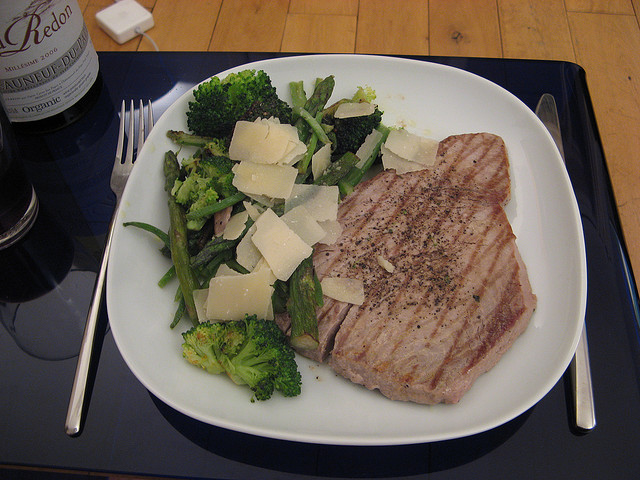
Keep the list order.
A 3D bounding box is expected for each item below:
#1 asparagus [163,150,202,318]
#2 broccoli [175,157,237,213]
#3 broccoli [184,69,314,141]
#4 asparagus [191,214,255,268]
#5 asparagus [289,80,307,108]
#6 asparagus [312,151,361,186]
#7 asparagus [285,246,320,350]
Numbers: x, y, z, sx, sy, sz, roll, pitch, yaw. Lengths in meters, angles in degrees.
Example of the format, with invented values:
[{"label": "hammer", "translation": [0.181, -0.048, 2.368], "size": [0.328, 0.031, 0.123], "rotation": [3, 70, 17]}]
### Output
[{"label": "asparagus", "translation": [-0.657, -0.049, 2.621], "size": [0.093, 0.075, 0.864], "rotation": [-12, 67, -8]}, {"label": "broccoli", "translation": [-0.538, -0.291, 2.734], "size": [0.219, 0.119, 0.284], "rotation": [-31, 68, -7]}, {"label": "broccoli", "translation": [-0.410, -0.690, 2.831], "size": [0.414, 0.156, 0.474], "rotation": [-10, 53, -1]}, {"label": "asparagus", "translation": [-0.430, 0.023, 2.644], "size": [0.104, 0.072, 0.400], "rotation": [43, 62, 12]}, {"label": "asparagus", "translation": [-0.121, -0.767, 2.983], "size": [0.070, 0.022, 0.157], "rotation": [1, 63, -2]}, {"label": "asparagus", "translation": [0.087, -0.343, 2.874], "size": [0.107, 0.068, 0.322], "rotation": [40, 61, 11]}, {"label": "asparagus", "translation": [-0.086, 0.265, 2.469], "size": [0.128, 0.143, 0.628], "rotation": [23, 39, -17]}]
